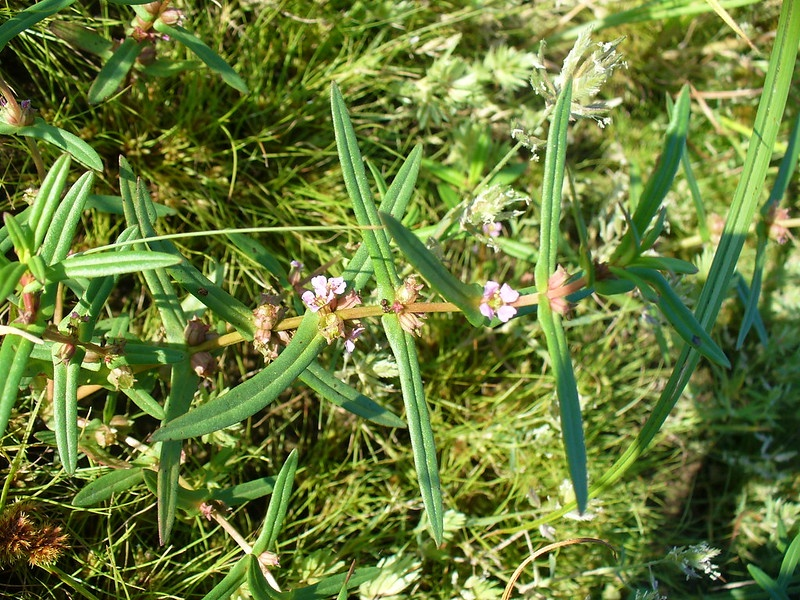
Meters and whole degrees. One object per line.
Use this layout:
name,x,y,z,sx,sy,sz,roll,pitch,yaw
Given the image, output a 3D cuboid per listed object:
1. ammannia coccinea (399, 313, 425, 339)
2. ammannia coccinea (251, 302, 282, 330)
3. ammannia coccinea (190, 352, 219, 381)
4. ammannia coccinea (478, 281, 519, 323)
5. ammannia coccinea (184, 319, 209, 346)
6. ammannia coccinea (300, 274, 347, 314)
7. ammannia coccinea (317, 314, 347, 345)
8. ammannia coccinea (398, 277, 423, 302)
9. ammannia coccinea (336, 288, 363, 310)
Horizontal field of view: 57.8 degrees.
ammannia coccinea,0.044,0.089,2.471,0.090,0.033,0.060,38,87,19
ammannia coccinea,-0.455,0.039,2.483,0.076,0.062,0.095,14,33,17
ammannia coccinea,-0.686,0.230,2.544,0.085,0.060,0.082,-22,60,-8
ammannia coccinea,0.335,0.004,2.446,0.127,0.060,0.130,23,106,4
ammannia coccinea,-0.713,0.121,2.549,0.064,0.052,0.050,-35,84,29
ammannia coccinea,-0.262,0.001,2.447,0.122,0.060,0.127,36,64,24
ammannia coccinea,-0.226,0.091,2.423,0.088,0.063,0.082,-17,60,-4
ammannia coccinea,0.034,-0.025,2.468,0.079,0.125,0.094,-5,59,2
ammannia coccinea,-0.175,-0.003,2.449,0.062,0.019,0.064,-35,57,0
